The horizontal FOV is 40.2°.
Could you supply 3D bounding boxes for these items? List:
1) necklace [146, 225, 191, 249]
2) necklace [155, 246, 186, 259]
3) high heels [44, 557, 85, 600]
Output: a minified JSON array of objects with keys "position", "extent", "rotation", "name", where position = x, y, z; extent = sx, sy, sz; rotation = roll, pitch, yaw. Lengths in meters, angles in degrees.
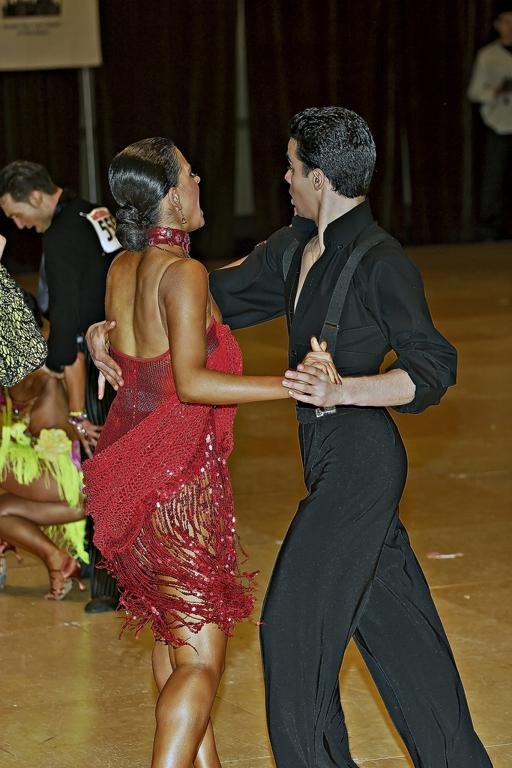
[{"position":[-0.152,-0.267,1.275],"extent":[0.041,0.026,0.054],"rotation":[5,7,39],"name":"necklace"},{"position":[-0.152,-0.230,1.219],"extent":[0.041,0.014,0.029],"rotation":[20,18,-25],"name":"necklace"},{"position":[-0.829,0.835,3.010],"extent":[0.114,0.275,0.087],"rotation":[-11,59,-16],"name":"high heels"}]
